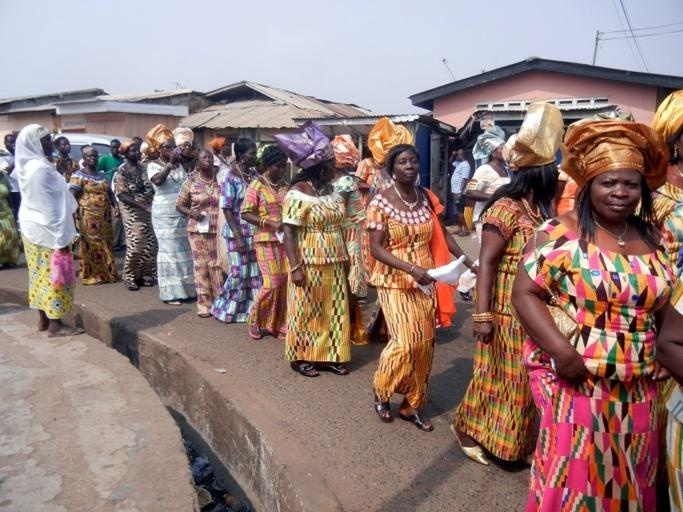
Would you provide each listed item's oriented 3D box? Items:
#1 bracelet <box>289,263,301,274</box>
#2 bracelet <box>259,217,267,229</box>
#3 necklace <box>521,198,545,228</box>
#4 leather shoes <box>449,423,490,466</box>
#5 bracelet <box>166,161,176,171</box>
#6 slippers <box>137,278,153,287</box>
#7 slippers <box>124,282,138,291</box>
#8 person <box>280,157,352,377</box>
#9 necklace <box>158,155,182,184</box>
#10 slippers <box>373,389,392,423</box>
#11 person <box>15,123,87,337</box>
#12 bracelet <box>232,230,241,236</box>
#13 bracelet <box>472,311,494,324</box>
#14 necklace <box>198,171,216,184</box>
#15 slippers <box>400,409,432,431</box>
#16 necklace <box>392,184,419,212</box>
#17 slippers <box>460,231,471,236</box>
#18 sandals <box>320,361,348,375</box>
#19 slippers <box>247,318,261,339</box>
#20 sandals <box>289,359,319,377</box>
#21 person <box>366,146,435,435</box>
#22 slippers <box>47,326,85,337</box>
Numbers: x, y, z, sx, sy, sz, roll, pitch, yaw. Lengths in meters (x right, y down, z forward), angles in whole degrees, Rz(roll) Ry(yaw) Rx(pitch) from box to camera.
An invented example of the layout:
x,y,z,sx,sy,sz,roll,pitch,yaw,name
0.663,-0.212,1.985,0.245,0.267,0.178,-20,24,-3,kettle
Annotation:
x,y,z,sx,sy,sz,roll,pitch,yaw,name
-0.391,0.111,4.376,0.072,0.021,0.072,-40,3,-16,bracelet
-0.797,-0.330,5.238,0.065,0.082,0.034,0,4,7,bracelet
1.137,-0.252,3.100,0.030,0.253,0.081,21,-51,-40,necklace
0.811,1.214,3.341,0.079,0.027,0.325,-37,28,-8,leather shoes
-2.273,-1.199,6.944,0.103,0.102,0.035,20,-24,22,bracelet
-2.977,0.406,7.890,0.118,0.088,0.291,3,3,-41,slippers
-3.037,0.437,7.520,0.238,0.106,0.086,-7,36,43,slippers
-0.218,0.046,4.482,0.556,1.711,0.388,-1,9,-16,person
-2.283,-1.141,6.906,0.163,0.124,0.457,-1,35,29,necklace
0.292,1.092,3.737,0.088,0.248,0.076,-13,-13,-7,slippers
-3.118,-0.359,5.490,0.540,2.012,0.426,-2,9,-23,person
-1.157,-0.250,5.728,0.063,0.046,0.063,0,7,5,bracelet
0.836,0.359,3.048,0.120,0.069,0.084,2,7,0,bracelet
-1.702,-1.016,6.559,0.162,0.205,0.168,-2,49,-9,necklace
0.511,1.132,3.678,0.097,0.087,0.259,-20,33,-40,slippers
0.458,-0.419,3.753,0.142,0.198,0.054,-18,-7,-38,necklace
2.967,-0.524,12.432,0.114,0.128,0.313,-8,-1,33,slippers
-0.063,0.980,4.572,0.240,0.056,0.096,1,3,36,sandals
-0.925,0.769,5.425,0.085,0.232,0.088,-8,-13,-10,slippers
-0.323,0.973,4.500,0.106,0.055,0.207,-1,1,-42,sandals
0.419,0.192,3.744,0.519,1.968,0.585,2,8,5,person
-2.987,0.818,5.662,0.367,0.156,0.121,-6,11,-25,slippers
